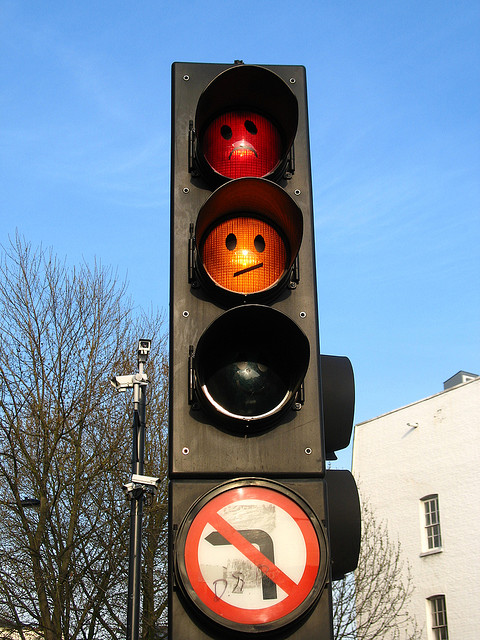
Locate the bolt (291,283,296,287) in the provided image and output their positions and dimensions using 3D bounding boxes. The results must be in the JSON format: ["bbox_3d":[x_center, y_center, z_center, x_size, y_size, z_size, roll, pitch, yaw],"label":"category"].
[{"bbox_3d":[0.192,-0.132,3.674,0.010,0.015,0.003,-1,0,-3],"label":"bolt"}]

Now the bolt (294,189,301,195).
[{"bbox_3d":[0.219,-0.488,3.839,0.014,0.021,0.006,0,-2,-5],"label":"bolt"}]

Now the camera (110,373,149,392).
[{"bbox_3d":[-0.898,0.481,8.057,0.285,0.148,0.395,-11,-8,-11],"label":"camera"}]

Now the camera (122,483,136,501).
[{"bbox_3d":[-0.777,1.181,7.098,0.103,0.140,0.127,0,-26,-1],"label":"camera"}]

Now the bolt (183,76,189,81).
[{"bbox_3d":[-0.212,-0.948,3.957,0.013,0.020,0.004,3,6,-9],"label":"bolt"}]
